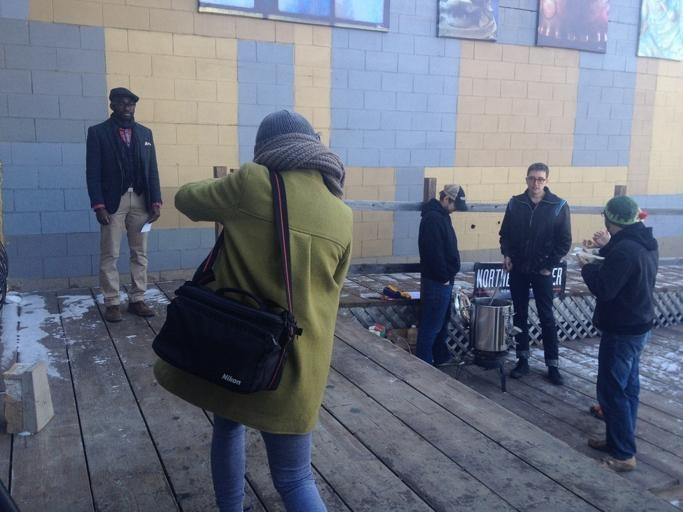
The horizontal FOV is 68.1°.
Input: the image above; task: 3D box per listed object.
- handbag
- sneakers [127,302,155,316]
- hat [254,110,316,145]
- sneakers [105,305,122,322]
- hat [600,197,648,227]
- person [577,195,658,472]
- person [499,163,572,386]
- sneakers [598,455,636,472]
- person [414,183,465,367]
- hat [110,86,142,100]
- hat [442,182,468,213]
[{"bbox_3d":[-0.432,0.072,2.265,0.548,0.986,0.371,16,2,10],"label":"handbag"},{"bbox_3d":[-2.204,0.584,5.650,0.360,0.165,0.129,4,4,30],"label":"sneakers"},{"bbox_3d":[-0.280,-0.599,2.443,0.186,0.155,0.189,0,7,-16],"label":"hat"},{"bbox_3d":[-2.431,0.606,5.420,0.170,0.152,0.245,-4,11,-25],"label":"sneakers"},{"bbox_3d":[2.594,-0.455,4.679,0.244,0.174,0.340,18,27,15],"label":"hat"},{"bbox_3d":[2.468,0.677,4.599,0.594,2.402,0.653,6,12,27],"label":"person"},{"bbox_3d":[2.377,0.217,6.231,0.845,2.642,0.488,4,11,17],"label":"person"},{"bbox_3d":[2.465,1.829,4.558,0.318,0.157,0.116,5,0,9],"label":"sneakers"},{"bbox_3d":[1.177,0.235,6.087,0.517,2.139,0.414,0,10,-7],"label":"person"},{"bbox_3d":[-2.255,-1.688,5.317,0.285,0.110,0.265,0,3,-26],"label":"hat"},{"bbox_3d":[1.363,-0.692,6.063,0.302,0.295,0.201,2,10,3],"label":"hat"}]
